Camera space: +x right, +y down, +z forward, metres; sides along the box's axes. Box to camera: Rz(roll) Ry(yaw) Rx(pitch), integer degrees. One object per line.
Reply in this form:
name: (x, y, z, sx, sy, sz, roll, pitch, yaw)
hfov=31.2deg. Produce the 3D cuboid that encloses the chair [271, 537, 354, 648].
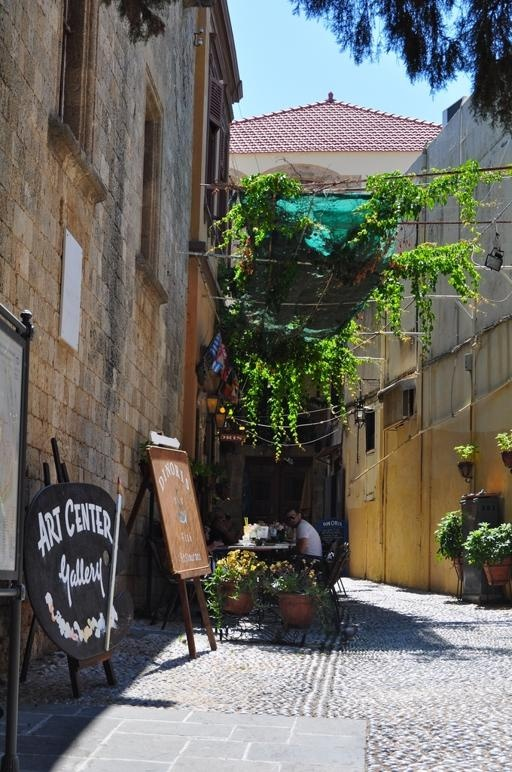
chair: (0.479, 1.889, 8.027, 0.685, 1.306, 0.663, 2, -12, 0)

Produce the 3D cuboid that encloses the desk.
desk: (-0.001, 1.744, 8.007, 0.566, 0.940, 0.785, 0, -2, 8)

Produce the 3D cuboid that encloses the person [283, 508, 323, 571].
person: (0.514, 1.754, 9.589, 0.253, 0.921, 0.309, -1, 7, 22)

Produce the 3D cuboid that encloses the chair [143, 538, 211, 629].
chair: (-0.887, 1.939, 8.841, 0.619, 1.147, 0.649, -3, -6, 22)

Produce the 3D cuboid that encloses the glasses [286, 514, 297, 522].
glasses: (0.380, 1.429, 9.715, 0.058, 0.048, 0.094, -1, -22, -6)
